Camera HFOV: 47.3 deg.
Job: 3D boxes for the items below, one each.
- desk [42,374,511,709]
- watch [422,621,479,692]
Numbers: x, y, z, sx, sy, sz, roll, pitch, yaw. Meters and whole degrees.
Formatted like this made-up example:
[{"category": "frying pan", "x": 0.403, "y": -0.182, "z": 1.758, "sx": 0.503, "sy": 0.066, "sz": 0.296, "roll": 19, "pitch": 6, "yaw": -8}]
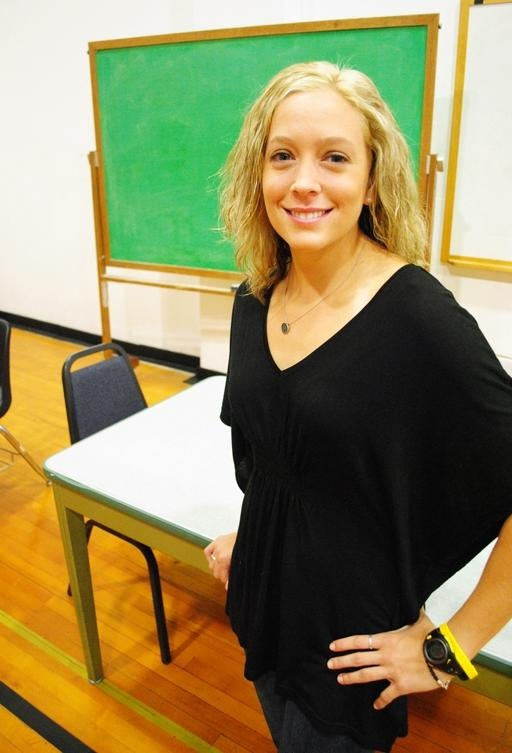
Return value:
[{"category": "desk", "x": -0.083, "y": 0.221, "z": 1.662, "sx": 1.158, "sy": 0.617, "sz": 0.779, "roll": 18, "pitch": 35, "yaw": 34}, {"category": "watch", "x": 0.231, "y": 0.351, "z": 0.712, "sx": 0.024, "sy": 0.090, "sz": 0.069, "roll": -9, "pitch": 24, "yaw": -27}]
